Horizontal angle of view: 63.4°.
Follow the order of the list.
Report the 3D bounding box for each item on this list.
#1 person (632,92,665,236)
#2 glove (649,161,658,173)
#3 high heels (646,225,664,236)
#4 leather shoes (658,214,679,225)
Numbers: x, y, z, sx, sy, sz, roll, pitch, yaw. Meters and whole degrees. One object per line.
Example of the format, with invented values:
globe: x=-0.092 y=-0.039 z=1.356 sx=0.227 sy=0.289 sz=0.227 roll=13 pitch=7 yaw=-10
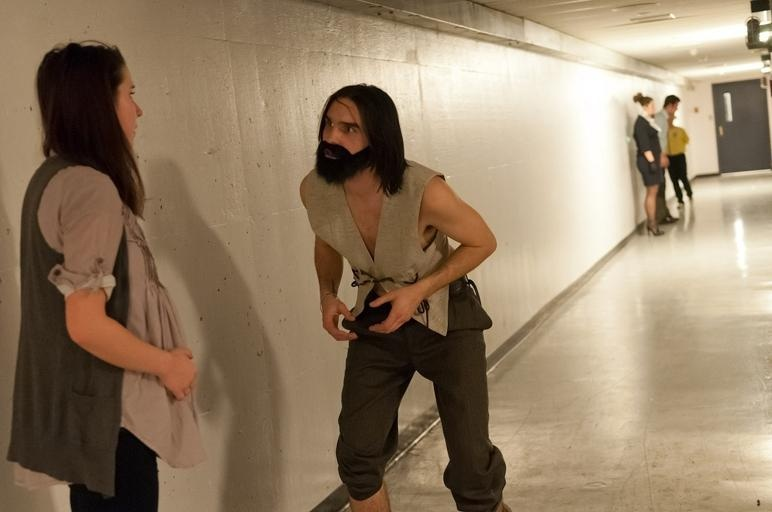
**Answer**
person: x=4.253 y=-1.458 z=10.133 sx=0.368 sy=2.240 sz=0.455 roll=-3 pitch=11 yaw=23
glove: x=4.274 y=-1.421 z=9.998 sx=0.126 sy=0.172 sz=0.057 roll=1 pitch=-7 yaw=-8
high heels: x=4.398 y=-0.412 z=10.194 sx=0.266 sy=0.110 sz=0.146 roll=2 pitch=6 yaw=-6
leather shoes: x=5.037 y=-0.652 z=11.175 sx=0.426 sy=0.169 sz=0.128 roll=-15 pitch=19 yaw=-36
